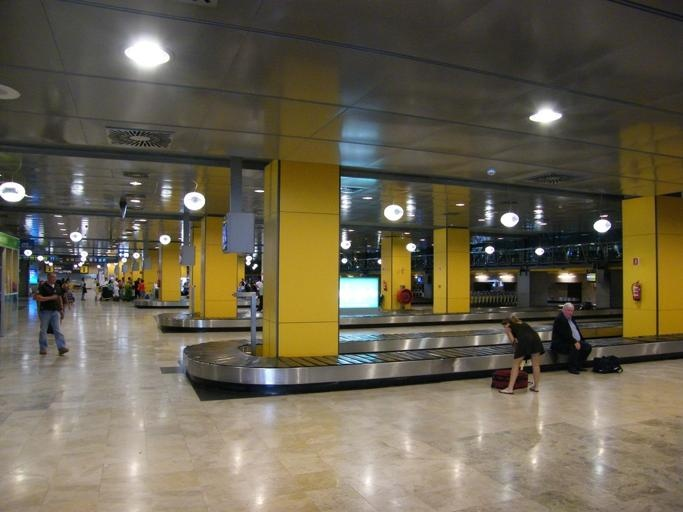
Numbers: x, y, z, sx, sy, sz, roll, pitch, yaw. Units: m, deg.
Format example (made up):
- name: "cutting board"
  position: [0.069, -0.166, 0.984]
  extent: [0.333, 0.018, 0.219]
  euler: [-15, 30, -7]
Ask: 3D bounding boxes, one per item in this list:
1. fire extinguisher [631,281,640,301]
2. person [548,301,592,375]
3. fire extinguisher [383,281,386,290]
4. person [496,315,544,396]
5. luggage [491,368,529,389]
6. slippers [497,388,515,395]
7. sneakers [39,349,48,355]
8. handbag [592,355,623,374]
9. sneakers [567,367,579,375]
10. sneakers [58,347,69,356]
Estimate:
- name: "fire extinguisher"
  position: [7.944, 0.969, 14.590]
  extent: [0.182, 0.414, 0.245]
  euler: [0, -1, 37]
- name: "person"
  position: [4.982, 1.769, 11.795]
  extent: [0.727, 1.515, 1.497]
  euler: [0, -2, 31]
- name: "fire extinguisher"
  position: [2.227, 1.534, 27.444]
  extent: [0.113, 0.404, 0.472]
  euler: [2, -2, -14]
- name: "person"
  position: [3.384, 1.817, 10.042]
  extent: [0.685, 1.346, 0.878]
  euler: [1, -2, 23]
- name: "luggage"
  position: [3.126, 2.324, 10.211]
  extent: [0.559, 0.355, 0.394]
  euler: [3, -9, -26]
- name: "slippers"
  position: [2.981, 2.445, 9.797]
  extent: [0.089, 0.102, 0.250]
  euler: [5, -3, -33]
- name: "sneakers"
  position: [-7.266, 2.354, 13.243]
  extent: [0.113, 0.148, 0.223]
  euler: [7, -20, -44]
- name: "handbag"
  position: [5.857, 2.368, 11.853]
  extent: [0.613, 0.361, 0.422]
  euler: [1, -2, 4]
- name: "sneakers"
  position: [5.053, 2.495, 11.759]
  extent: [0.101, 0.112, 0.285]
  euler: [1, -12, -11]
- name: "sneakers"
  position: [-6.771, 2.319, 13.180]
  extent: [0.214, 0.198, 0.112]
  euler: [-32, -26, 9]
